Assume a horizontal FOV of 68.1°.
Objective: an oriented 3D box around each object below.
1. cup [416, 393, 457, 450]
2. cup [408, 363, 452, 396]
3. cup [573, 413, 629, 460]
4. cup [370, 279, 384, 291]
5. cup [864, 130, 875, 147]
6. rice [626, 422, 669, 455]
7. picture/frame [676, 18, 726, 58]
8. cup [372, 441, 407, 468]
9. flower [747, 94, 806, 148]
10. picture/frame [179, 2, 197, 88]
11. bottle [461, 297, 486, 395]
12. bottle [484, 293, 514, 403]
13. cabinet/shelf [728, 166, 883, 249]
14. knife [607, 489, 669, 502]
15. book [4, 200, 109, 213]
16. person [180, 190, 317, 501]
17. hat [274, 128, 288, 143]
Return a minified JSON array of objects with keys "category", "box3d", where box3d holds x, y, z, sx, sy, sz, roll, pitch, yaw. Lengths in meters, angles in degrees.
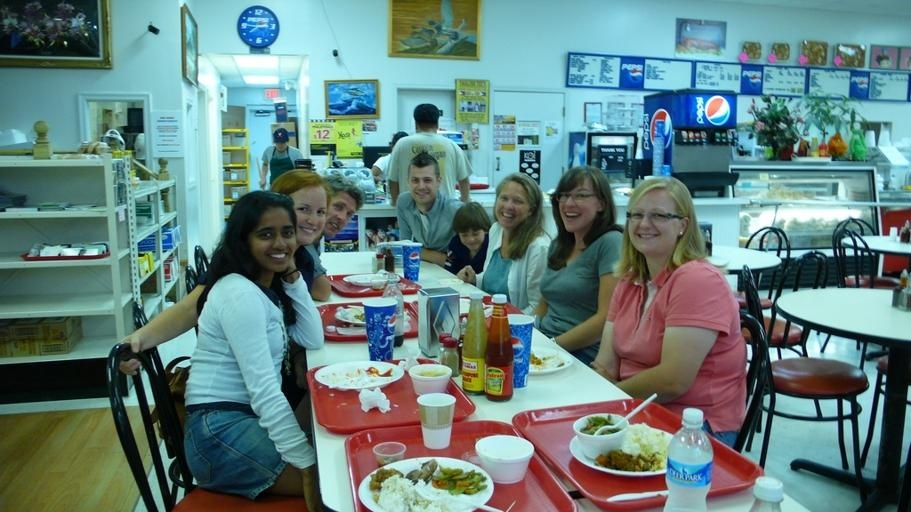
[{"category":"cup","box3d":[-0.103,0.917,3.816,0.298,0.269,0.287,0,-4,0]},{"category":"cup","box3d":[-0.153,0.725,4.027,0.236,0.169,0.210,4,11,29]},{"category":"cup","box3d":[0.808,0.971,3.745,0.258,0.141,0.250,0,7,0]},{"category":"cup","box3d":[-0.580,0.208,5.069,0.084,0.053,0.079,0,7,0]},{"category":"cup","box3d":[5.700,-1.599,9.277,0.128,0.226,0.403,5,11,30]},{"category":"rice","box3d":[1.051,1.004,3.726,0.186,0.059,0.174,-3,10,-10]},{"category":"picture/frame","box3d":[3.740,-3.355,10.365,0.697,0.413,0.033,0,5,-6]},{"category":"cup","box3d":[-0.365,1.072,3.735,0.141,0.061,0.144,2,1,0]},{"category":"flower","box3d":[4.016,-1.666,8.427,0.517,0.629,0.456,2,11,17]},{"category":"picture/frame","box3d":[-3.578,-2.805,9.093,0.185,0.956,0.858,-4,11,-15]},{"category":"bottle","box3d":[0.110,0.514,4.025,0.157,0.604,0.098,-2,11,0]},{"category":"bottle","box3d":[0.258,0.532,4.008,0.176,0.629,0.129,-2,11,0]},{"category":"cabinet/shelf","box3d":[4.473,-0.731,8.829,2.169,1.262,1.079,-1,1,0]},{"category":"knife","box3d":[0.981,1.265,3.607,0.400,0.044,0.021,-5,-33,2]},{"category":"book","box3d":[-3.539,-0.429,5.992,0.894,0.060,0.378,-3,10,-10]},{"category":"person","box3d":[-1.250,0.517,4.107,0.821,1.780,0.616,-1,10,3]},{"category":"hat","box3d":[-2.615,-1.794,10.097,0.182,0.130,0.256,1,3,-4]}]
